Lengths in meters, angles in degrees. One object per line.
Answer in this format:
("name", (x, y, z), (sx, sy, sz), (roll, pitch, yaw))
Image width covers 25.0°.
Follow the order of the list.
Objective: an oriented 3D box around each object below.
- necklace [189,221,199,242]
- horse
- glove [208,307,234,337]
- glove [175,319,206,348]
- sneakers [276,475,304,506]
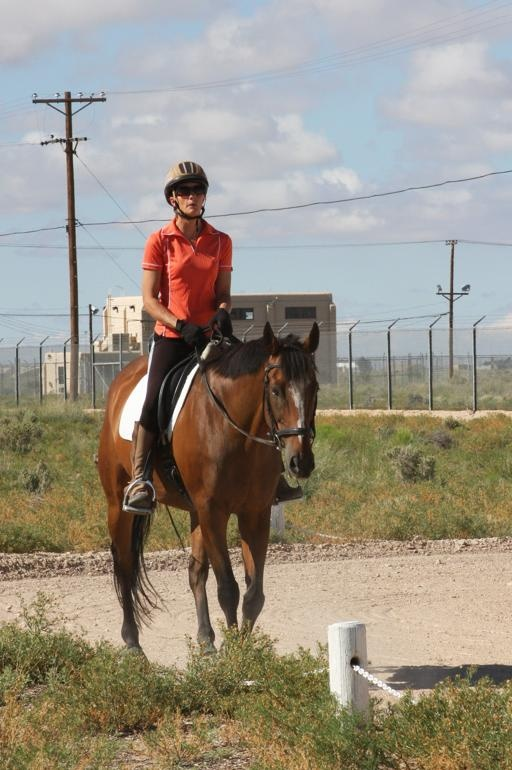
("necklace", (-0.476, -1.168, 8.737), (0.031, 0.130, 0.093), (5, 2, 31))
("horse", (-0.381, 0.914, 8.732), (0.948, 2.559, 3.672), (1, -4, -26))
("glove", (-0.251, -0.479, 8.552), (0.070, 0.219, 0.155), (-2, -12, -22))
("glove", (-0.472, -0.379, 8.431), (0.158, 0.094, 0.217), (34, -6, -5))
("sneakers", (0.235, 0.799, 8.834), (0.121, 0.245, 0.325), (0, -7, -37))
